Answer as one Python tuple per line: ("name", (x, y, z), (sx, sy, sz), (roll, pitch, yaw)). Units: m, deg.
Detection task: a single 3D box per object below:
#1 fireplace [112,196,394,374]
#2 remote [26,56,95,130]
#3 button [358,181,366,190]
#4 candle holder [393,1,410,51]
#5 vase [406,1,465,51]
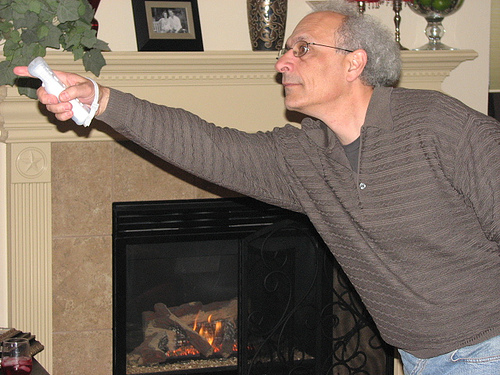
("fireplace", (-0.052, 0.418, 2.627), (0.945, 0.783, 0.293), (-1, 3, -12))
("remote", (-0.544, -0.277, 1.700), (0.181, 0.197, 0.094), (-1, -2, -23))
("button", (0.348, -0.009, 1.826), (0.024, 0.022, 0.006), (-6, -9, 24))
("candle holder", (0.704, -0.739, 2.748), (0.068, 0.258, 0.221), (-2, -2, 15))
("vase", (0.827, -0.735, 2.768), (0.270, 0.258, 0.246), (-2, 12, 3))
